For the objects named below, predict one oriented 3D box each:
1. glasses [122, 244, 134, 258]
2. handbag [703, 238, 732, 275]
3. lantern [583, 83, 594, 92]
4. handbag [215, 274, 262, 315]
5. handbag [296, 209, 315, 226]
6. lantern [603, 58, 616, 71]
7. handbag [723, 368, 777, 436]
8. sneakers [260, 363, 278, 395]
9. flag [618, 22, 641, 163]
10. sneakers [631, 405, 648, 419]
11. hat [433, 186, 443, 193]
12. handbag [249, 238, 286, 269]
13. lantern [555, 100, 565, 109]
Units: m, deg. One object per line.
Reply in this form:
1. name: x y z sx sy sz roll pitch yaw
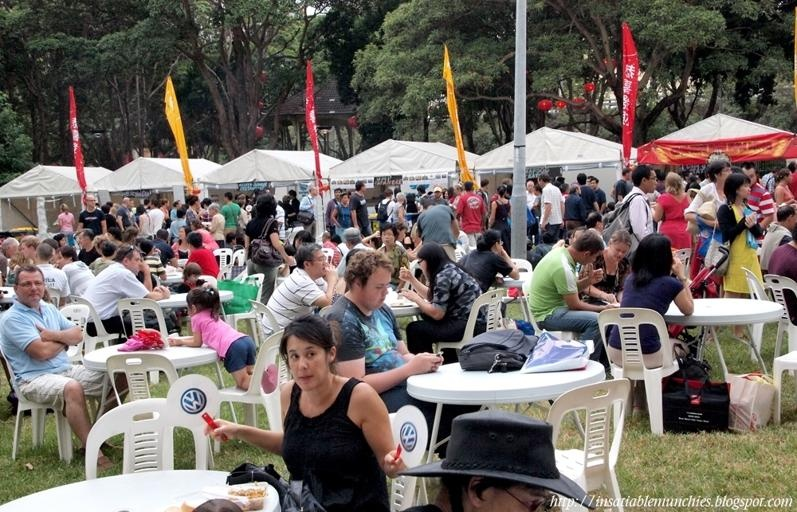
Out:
1. glasses: -4.517 -0.073 15.000 0.046 0.179 0.171 18 6 11
2. handbag: 5.327 0.027 14.968 0.392 0.549 0.505 35 11 32
3. lantern: 6.817 -6.038 31.782 0.322 0.364 0.434 -2 5 4
4. handbag: -2.797 0.702 16.184 0.800 0.812 0.626 6 -11 -30
5. handbag: -2.326 -0.993 23.289 0.308 0.167 0.439 6 -8 26
6. lantern: 7.597 -6.823 31.736 0.483 0.534 0.516 -1 5 3
7. handbag: 4.963 2.086 12.568 0.753 0.848 0.582 -4 5 -21
8. sneakers: -1.741 1.690 12.204 0.114 0.373 0.276 18 25 -11
9. flag: 6.041 -4.276 23.273 0.425 3.742 1.528 -3 3 17
10. sneakers: 3.560 2.306 13.140 0.157 0.163 0.158 -2 4 -35
11. hat: 0.959 -1.549 21.051 0.313 0.180 0.517 1 -2 2
12. handbag: -2.551 -0.033 17.471 0.428 0.456 0.231 13 37 -6
13. lantern: 6.013 -5.539 32.822 0.243 0.204 0.256 -4 2 -9
